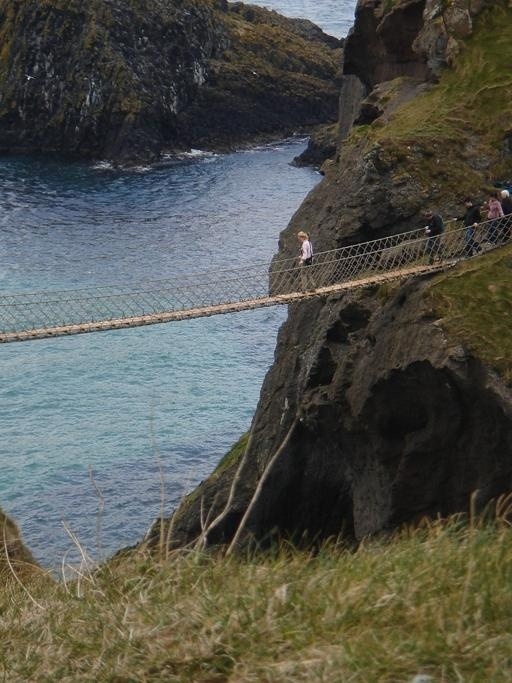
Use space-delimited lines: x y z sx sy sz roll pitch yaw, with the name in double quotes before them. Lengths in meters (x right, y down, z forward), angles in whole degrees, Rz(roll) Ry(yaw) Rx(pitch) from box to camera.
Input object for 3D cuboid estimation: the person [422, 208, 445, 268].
"person" 3.074 -1.849 20.298 0.302 0.847 0.298 -2 30 11
